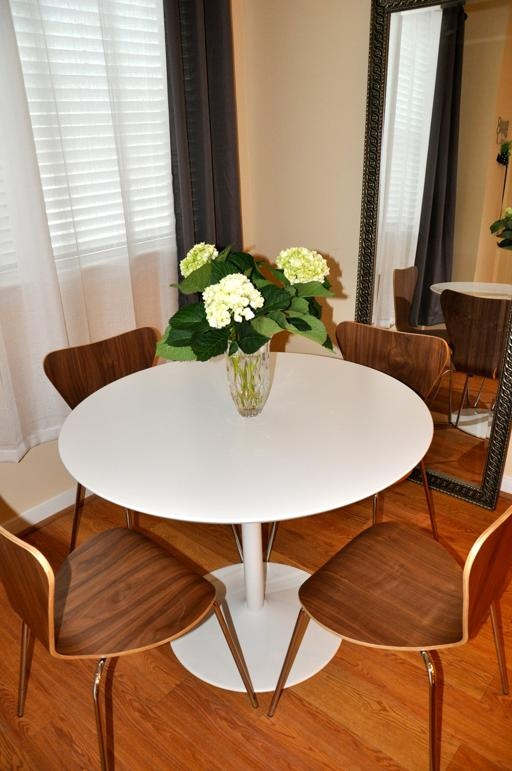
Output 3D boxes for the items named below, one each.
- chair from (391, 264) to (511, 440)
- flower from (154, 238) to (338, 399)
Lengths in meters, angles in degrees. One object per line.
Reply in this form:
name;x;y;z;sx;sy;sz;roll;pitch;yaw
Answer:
chair;0.756;-0.128;2.106;0.391;0.647;0.441;21;43;39
flower;-0.022;-0.142;1.406;0.416;0.407;0.412;1;29;7
